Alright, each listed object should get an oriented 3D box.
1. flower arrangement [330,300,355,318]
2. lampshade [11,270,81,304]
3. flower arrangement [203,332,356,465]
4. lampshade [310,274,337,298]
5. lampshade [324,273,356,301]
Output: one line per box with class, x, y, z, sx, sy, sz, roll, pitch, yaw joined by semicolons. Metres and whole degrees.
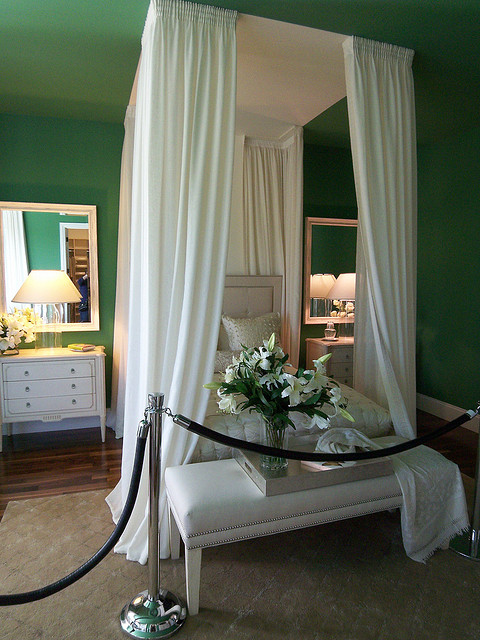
flower arrangement;1.115;-0.108;5.521;0.316;0.227;0.163;0;0;0
lampshade;-1.600;-0.264;4.226;0.344;0.172;0.351;1;8;5
flower arrangement;0.169;0.330;2.373;0.678;0.539;0.320;2;7;12
lampshade;0.883;-0.360;5.408;0.239;0.243;0.243;-1;7;0
lampshade;1.024;-0.333;5.211;0.280;0.273;0.266;1;7;10
